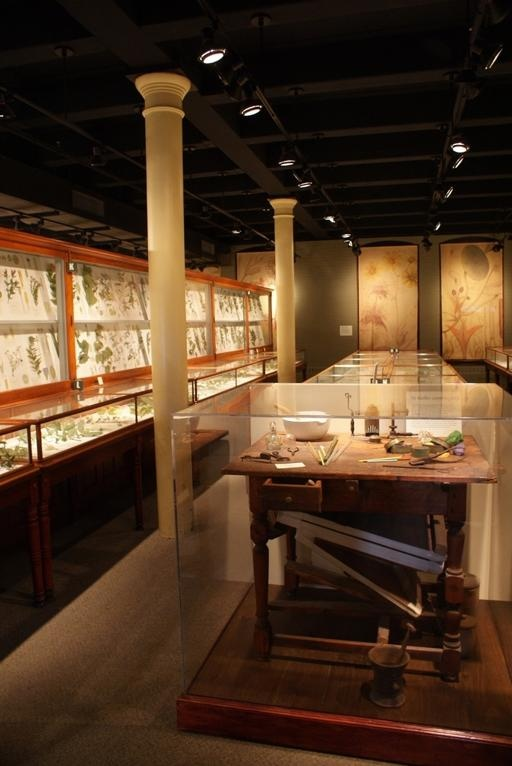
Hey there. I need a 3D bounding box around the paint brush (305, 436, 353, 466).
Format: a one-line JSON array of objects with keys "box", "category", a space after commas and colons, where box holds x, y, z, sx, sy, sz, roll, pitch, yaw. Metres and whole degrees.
[{"box": [0.220, 0.210, 1.697, 0.087, 0.035, 0.104, -4, 42, 27], "category": "paint brush"}]

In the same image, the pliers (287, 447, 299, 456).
[{"box": [0.118, 0.215, 1.724, 0.025, 0.024, 0.005, 0, -8, 11], "category": "pliers"}]

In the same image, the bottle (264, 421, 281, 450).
[{"box": [0.052, 0.175, 1.742, 0.049, 0.090, 0.023, -9, 5, -1], "category": "bottle"}]
